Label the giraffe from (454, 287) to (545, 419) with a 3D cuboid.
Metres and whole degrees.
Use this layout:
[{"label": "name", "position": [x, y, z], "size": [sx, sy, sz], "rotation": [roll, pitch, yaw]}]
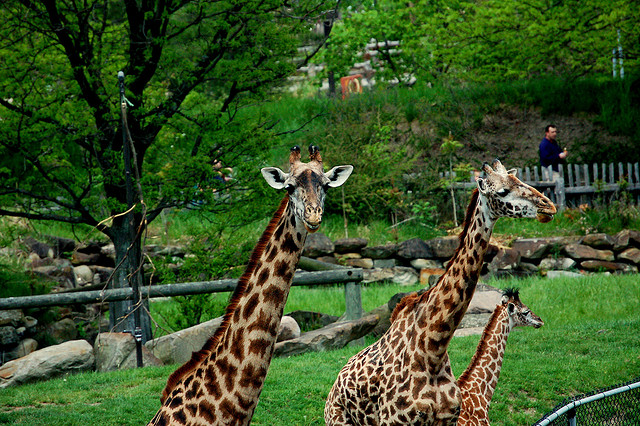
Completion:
[{"label": "giraffe", "position": [3.627, 3.313, 29.973], "size": [1.349, 3.796, 3.686], "rotation": [0, -1, -3]}]
